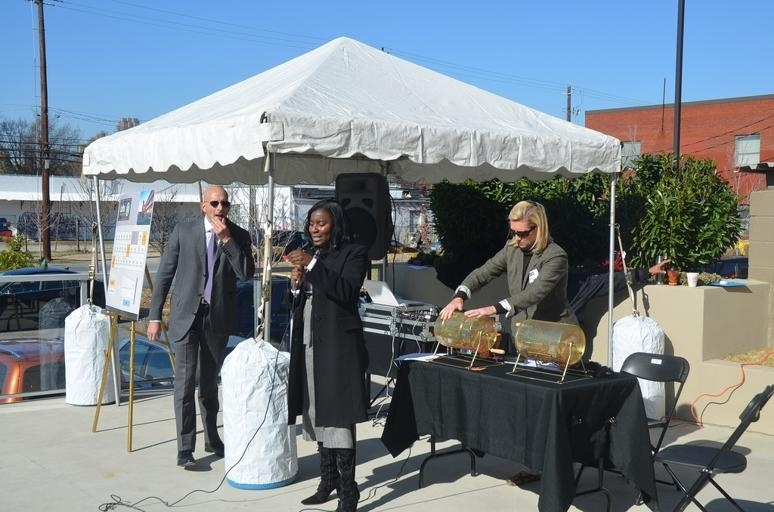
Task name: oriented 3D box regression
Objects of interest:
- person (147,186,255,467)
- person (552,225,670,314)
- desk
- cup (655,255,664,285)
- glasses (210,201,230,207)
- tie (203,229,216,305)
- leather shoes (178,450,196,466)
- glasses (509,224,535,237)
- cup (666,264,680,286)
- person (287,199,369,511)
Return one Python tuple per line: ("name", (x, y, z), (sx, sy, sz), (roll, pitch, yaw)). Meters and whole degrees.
("person", (-1.912, 0.717, 7.153), (1.124, 2.898, 0.745), (0, 11, 1))
("person", (3.090, 0.233, 9.358), (1.371, 1.324, 0.639), (-18, -15, 27))
("desk", (1.401, 1.271, 6.287), (1.349, 0.969, 1.804), (2, -3, -42))
("cup", (3.489, 0.193, 8.877), (0.162, 0.293, 0.354), (5, 12, 25))
("glasses", (-1.648, -0.515, 6.832), (0.189, 0.079, 0.114), (-5, 12, -23))
("tie", (-1.797, 0.102, 7.048), (0.128, 0.733, 0.205), (0, 11, 1))
("leather shoes", (-2.060, 2.106, 7.095), (0.169, 0.201, 0.130), (-3, 11, -14))
("glasses", (1.359, -0.249, 6.905), (0.231, 0.120, 0.124), (2, 11, 12))
("cup", (3.610, 0.263, 8.772), (0.161, 0.200, 0.294), (4, 12, 23))
("person", (-0.537, 0.951, 6.296), (0.733, 2.864, 0.670), (1, 11, 6))
